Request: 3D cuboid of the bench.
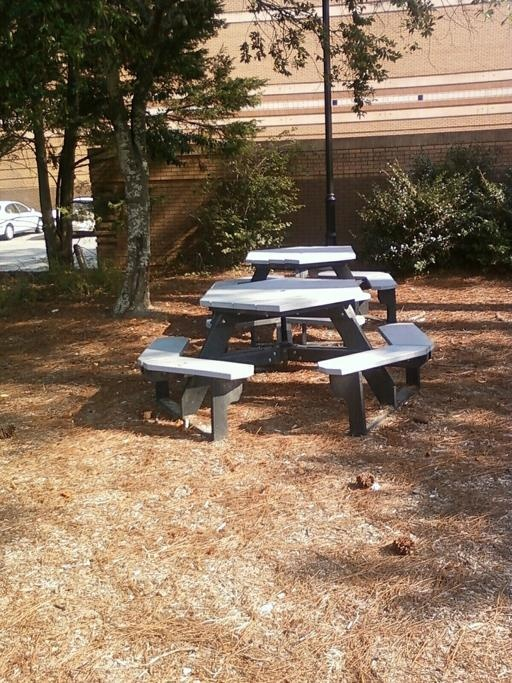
[{"bbox_3d":[0.250,-0.096,4.982,2.101,1.136,2.658,-3,11,5],"label":"bench"}]
